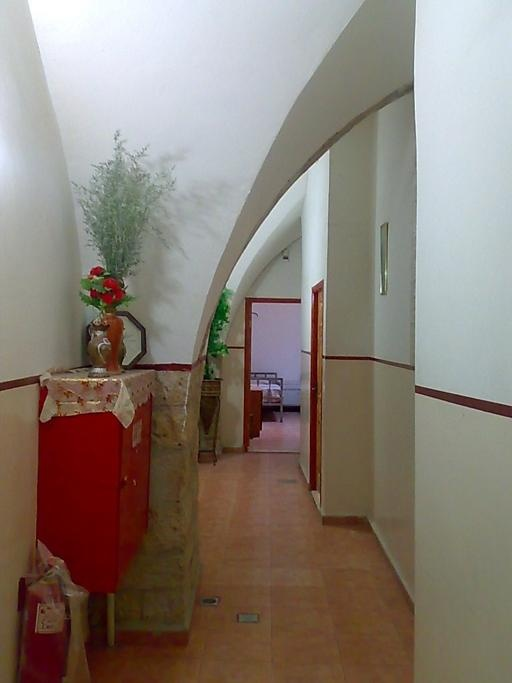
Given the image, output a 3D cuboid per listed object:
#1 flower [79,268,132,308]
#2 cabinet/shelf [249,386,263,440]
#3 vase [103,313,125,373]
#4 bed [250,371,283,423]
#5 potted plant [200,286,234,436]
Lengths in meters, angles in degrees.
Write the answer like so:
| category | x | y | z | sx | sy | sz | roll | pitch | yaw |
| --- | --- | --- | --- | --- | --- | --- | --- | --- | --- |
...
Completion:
| category | x | y | z | sx | sy | sz | roll | pitch | yaw |
| --- | --- | --- | --- | --- | --- | --- | --- | --- | --- |
| flower | -0.697 | -0.257 | 2.170 | 0.160 | 0.211 | 0.197 | 3 | 12 | 11 |
| cabinet/shelf | 0.001 | 1.243 | 7.857 | 0.188 | 0.861 | 0.740 | 0 | 3 | -2 |
| vase | -0.661 | 0.008 | 2.159 | 0.082 | 0.238 | 0.252 | 1 | -1 | -13 |
| bed | 0.179 | 1.209 | 10.325 | 0.680 | 1.164 | 1.462 | -1 | -4 | -1 |
| potted plant | -0.538 | 0.291 | 6.521 | 0.425 | 1.402 | 0.829 | 1 | -1 | 11 |
